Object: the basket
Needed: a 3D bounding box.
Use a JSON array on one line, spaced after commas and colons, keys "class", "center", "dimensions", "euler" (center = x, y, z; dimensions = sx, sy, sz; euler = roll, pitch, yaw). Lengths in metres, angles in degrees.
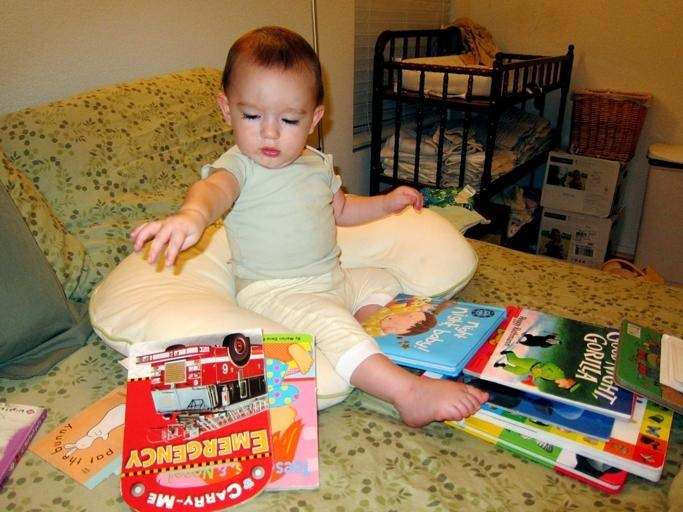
[{"class": "basket", "center": [1.657, -0.757, 2.913], "dimensions": [0.429, 0.389, 0.498], "euler": [12, 17, 30]}]
